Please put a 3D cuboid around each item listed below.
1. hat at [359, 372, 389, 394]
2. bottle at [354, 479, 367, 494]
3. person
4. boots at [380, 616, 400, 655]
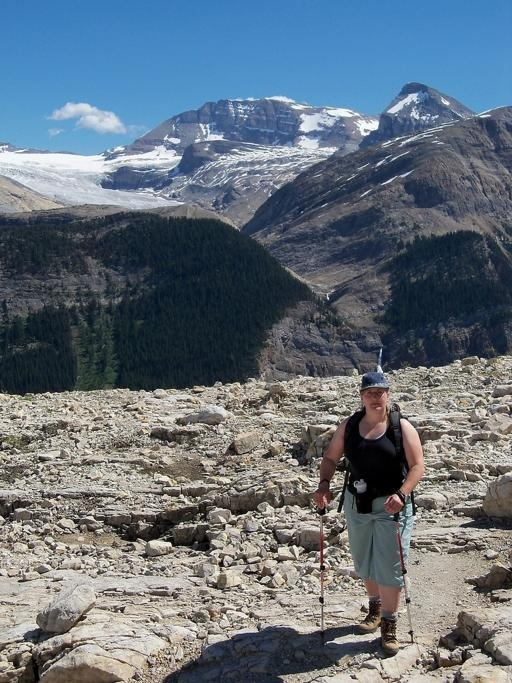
[{"bbox_3d":[1.493,0.529,13.641,0.226,0.164,0.322,0,-19,5],"label":"hat"},{"bbox_3d":[1.291,1.834,13.462,0.078,0.171,0.211,-1,0,-39],"label":"bottle"},{"bbox_3d":[1.496,2.133,13.515,1.238,3.427,0.579,-1,0,38],"label":"person"},{"bbox_3d":[1.671,3.643,13.210,0.229,0.456,0.169,-1,0,-1],"label":"boots"}]
